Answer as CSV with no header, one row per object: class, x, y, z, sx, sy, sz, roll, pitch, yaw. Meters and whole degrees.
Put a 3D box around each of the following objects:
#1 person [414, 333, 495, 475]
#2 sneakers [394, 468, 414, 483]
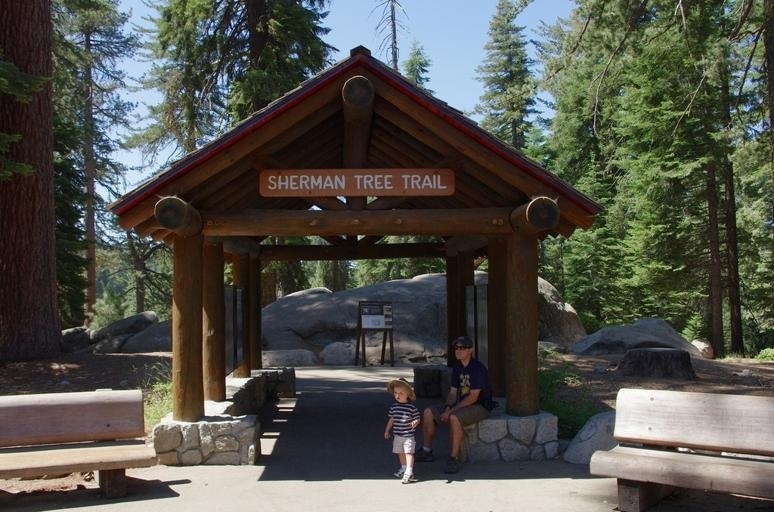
person,1.319,2.715,13.145,1.219,2.305,0.879,-5,8,-42
sneakers,0.297,3.942,12.419,0.149,0.193,0.453,-5,-17,21
